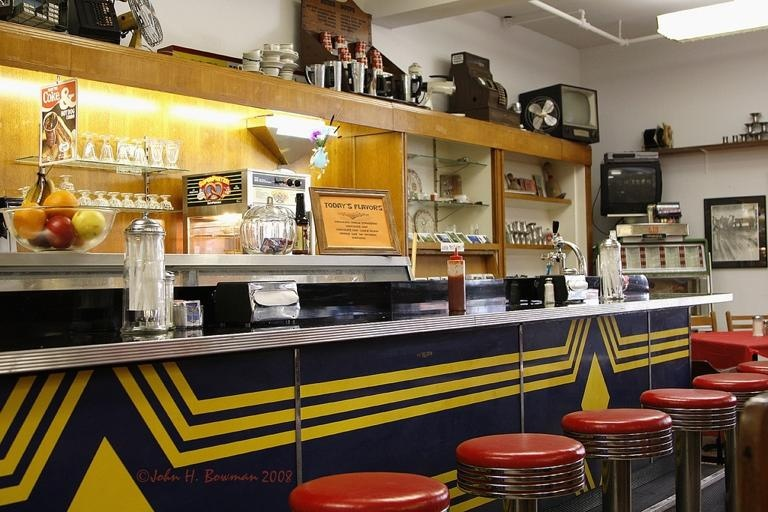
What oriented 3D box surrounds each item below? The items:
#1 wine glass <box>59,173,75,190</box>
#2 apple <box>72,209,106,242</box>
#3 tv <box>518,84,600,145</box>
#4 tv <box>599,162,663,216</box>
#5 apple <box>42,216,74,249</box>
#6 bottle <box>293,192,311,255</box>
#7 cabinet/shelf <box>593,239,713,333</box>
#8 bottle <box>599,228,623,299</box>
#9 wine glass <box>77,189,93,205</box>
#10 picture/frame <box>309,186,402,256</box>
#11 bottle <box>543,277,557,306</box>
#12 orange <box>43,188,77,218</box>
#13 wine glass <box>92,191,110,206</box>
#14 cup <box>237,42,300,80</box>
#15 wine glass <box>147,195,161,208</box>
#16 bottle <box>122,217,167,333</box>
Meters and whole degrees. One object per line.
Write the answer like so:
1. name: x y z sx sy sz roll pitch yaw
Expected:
1. wine glass: -2.267 -0.526 4.079 0.096 0.123 0.321 -3 3 -28
2. apple: -1.245 -0.152 2.505 0.128 0.122 0.150 -9 9 12
3. tv: 2.233 -1.776 7.207 0.853 0.621 0.799 -3 -3 37
4. tv: 3.202 -0.874 7.662 0.917 0.807 0.655 0 1 12
5. apple: -1.372 -0.113 2.479 0.124 0.126 0.127 39 -18 -34
6. bottle: -0.488 -0.187 3.400 0.103 0.361 0.369 -2 2 -9
7. cabinet/shelf: 2.469 0.246 5.101 1.132 1.006 0.571 -1 -8 3
8. bottle: 1.410 0.078 3.548 0.130 0.373 0.313 -1 2 20
9. wine glass: -2.145 -0.426 4.095 0.095 0.112 0.394 -3 3 -28
10. picture/frame: -0.177 -0.188 3.205 0.645 0.435 0.028 -1 -20 -40
11. bottle: 0.977 0.201 3.354 0.064 0.137 0.094 -1 2 15
12. orange: -1.413 -0.226 2.522 0.142 0.128 0.131 1 1 2
13. wine glass: -2.056 -0.421 4.153 0.110 0.127 0.386 -3 3 -26
14. cup: -0.995 -1.673 4.827 0.402 0.176 0.354 -1 4 8
15. wine glass: -1.792 -0.426 4.441 0.128 0.129 0.123 -2 5 -17
16. bottle: -0.820 0.060 1.946 0.141 0.379 0.178 -3 2 -21
